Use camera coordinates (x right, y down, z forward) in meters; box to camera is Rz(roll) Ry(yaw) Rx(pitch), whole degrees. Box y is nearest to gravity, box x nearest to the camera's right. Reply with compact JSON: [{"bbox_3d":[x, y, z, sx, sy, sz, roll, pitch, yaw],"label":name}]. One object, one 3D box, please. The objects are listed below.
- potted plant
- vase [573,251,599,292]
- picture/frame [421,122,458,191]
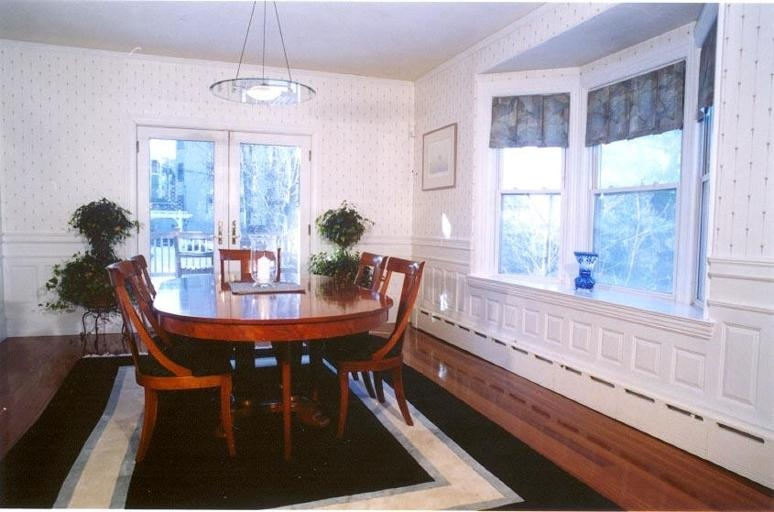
[{"bbox_3d":[-3.359,-0.037,5.744,1.175,1.361,0.923,8,6,23],"label":"potted plant"},{"bbox_3d":[1.948,0.170,5.114,0.275,0.368,0.282,6,-5,-44],"label":"vase"},{"bbox_3d":[0.676,-1.241,6.502,0.042,0.913,0.985,0,3,-22],"label":"picture/frame"}]
